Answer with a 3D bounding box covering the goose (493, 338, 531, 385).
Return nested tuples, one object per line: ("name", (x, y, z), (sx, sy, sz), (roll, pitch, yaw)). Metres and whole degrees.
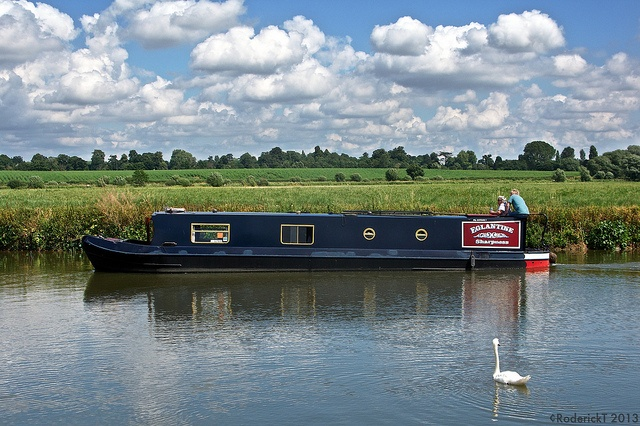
("goose", (4.630, 3.594, 18.767), (1.043, 0.954, 0.658), (10, 18, 36))
